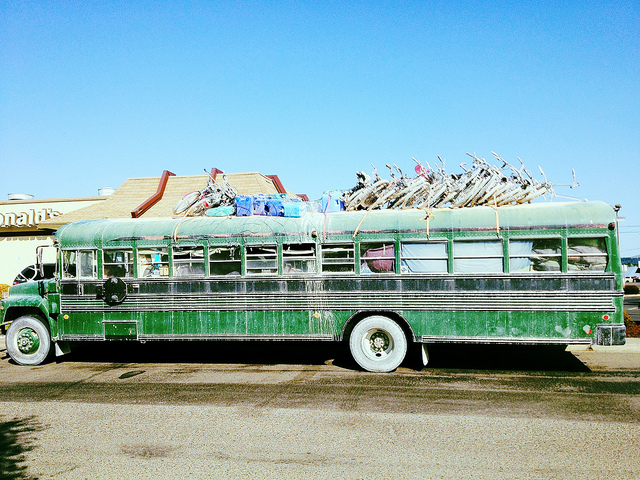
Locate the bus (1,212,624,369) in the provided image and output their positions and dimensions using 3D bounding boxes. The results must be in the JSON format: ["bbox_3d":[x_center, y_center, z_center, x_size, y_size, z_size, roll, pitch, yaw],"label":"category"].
[{"bbox_3d":[-1.819,0.823,18.090,17.073,3.995,4.454,0,-3,11],"label":"bus"}]
